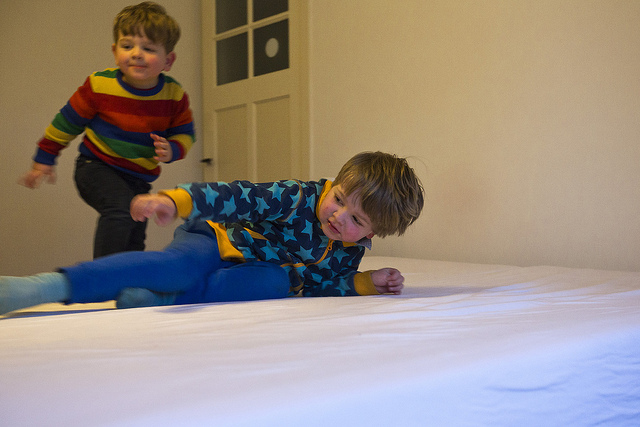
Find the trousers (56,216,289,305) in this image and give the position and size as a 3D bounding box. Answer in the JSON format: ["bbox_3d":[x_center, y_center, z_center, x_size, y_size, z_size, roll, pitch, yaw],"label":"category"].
[{"bbox_3d":[-0.368,0.115,1.308,0.491,0.241,0.182,4,2,-32],"label":"trousers"}]

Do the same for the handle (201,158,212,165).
[{"bbox_3d":[-0.811,-0.370,3.692,0.123,0.062,0.029,9,5,32],"label":"handle"}]

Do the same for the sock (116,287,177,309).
[{"bbox_3d":[-0.425,0.209,1.305,0.191,0.056,0.041,9,27,-51],"label":"sock"}]
